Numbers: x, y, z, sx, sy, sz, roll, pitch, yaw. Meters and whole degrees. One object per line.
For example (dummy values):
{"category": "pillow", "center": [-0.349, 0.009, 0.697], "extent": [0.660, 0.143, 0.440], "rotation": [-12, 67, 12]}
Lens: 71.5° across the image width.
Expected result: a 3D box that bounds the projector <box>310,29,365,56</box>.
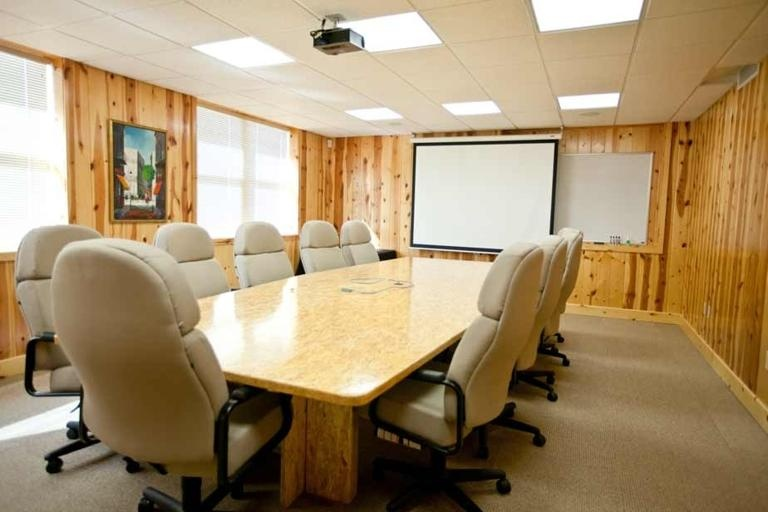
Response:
{"category": "projector", "center": [-0.377, -1.767, 4.361], "extent": [0.347, 0.170, 0.221], "rotation": [1, 9, 21]}
